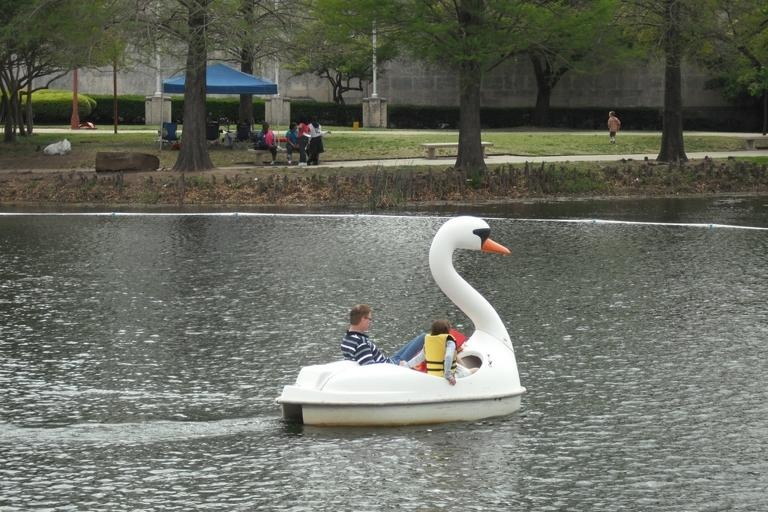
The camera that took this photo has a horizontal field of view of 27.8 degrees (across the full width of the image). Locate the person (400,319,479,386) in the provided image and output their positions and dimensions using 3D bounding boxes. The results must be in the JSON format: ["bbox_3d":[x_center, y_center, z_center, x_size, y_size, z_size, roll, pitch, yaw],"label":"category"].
[{"bbox_3d":[0.780,1.769,29.778,0.991,1.160,1.594,10,16,36],"label":"person"}]

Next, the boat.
[{"bbox_3d":[0.243,1.274,30.414,5.395,3.894,2.489,0,1,-25],"label":"boat"}]

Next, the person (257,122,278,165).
[{"bbox_3d":[-4.014,-3.882,53.527,0.863,1.355,0.656,1,12,-16],"label":"person"}]
